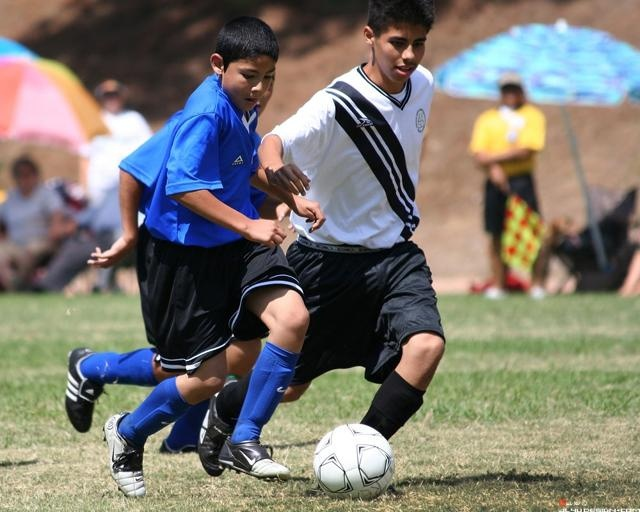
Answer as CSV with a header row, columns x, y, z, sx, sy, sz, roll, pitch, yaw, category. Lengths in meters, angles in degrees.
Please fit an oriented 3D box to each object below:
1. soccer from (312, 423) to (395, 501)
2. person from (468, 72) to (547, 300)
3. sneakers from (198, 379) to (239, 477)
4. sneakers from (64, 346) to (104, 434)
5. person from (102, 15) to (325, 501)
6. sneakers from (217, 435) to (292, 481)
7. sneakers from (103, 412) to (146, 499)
x,y,z,sx,sy,sz,roll,pitch,yaw,category
0.141,0.953,5.824,0.333,0.338,0.320,-23,23,-6,soccer
1.006,-0.376,6.644,0.409,1.217,0.379,2,10,20,person
-0.521,0.841,6.170,0.220,0.534,0.171,0,-3,39,sneakers
-1.275,0.740,6.641,0.205,0.503,0.161,-1,7,21,sneakers
-0.523,0.001,5.847,1.051,2.236,0.676,-2,9,-1,person
-0.315,0.965,5.837,0.401,0.174,0.148,12,-1,35,sneakers
-0.969,0.996,5.950,0.188,0.427,0.161,-25,-11,39,sneakers
